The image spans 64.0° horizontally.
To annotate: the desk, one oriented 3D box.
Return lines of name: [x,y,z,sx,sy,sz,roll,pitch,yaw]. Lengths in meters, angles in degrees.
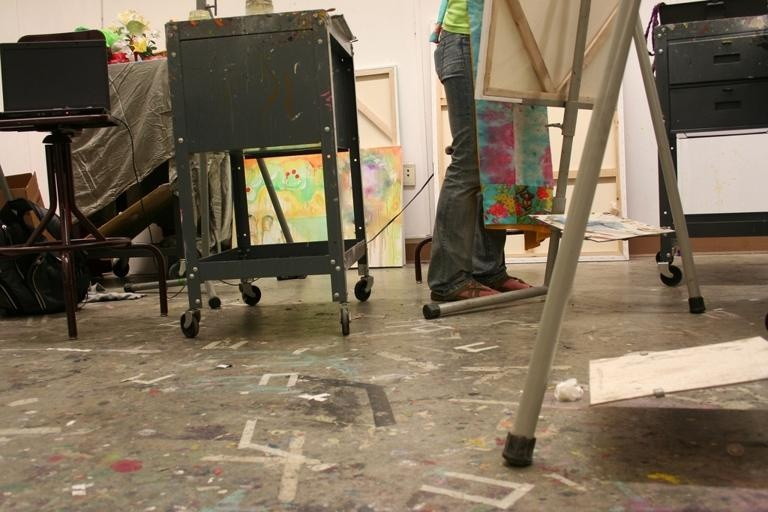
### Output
desk: [-0.465,-0.326,2.486,0.752,1.242,0.805,-2,13,2]

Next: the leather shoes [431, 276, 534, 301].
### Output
leather shoes: [0.429,0.143,2.690,0.420,0.100,0.154,-7,2,-6]

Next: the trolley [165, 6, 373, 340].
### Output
trolley: [-0.433,-0.320,2.551,0.778,1.110,0.719,-2,6,14]
